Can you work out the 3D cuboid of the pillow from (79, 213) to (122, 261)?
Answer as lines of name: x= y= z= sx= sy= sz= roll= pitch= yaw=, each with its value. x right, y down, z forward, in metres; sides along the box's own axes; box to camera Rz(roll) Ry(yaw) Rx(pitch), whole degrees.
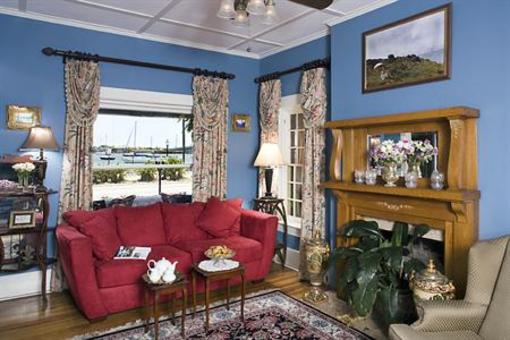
pillow: x=-1.985 y=0.851 z=4.691 sx=0.488 sy=0.553 sz=0.813 roll=-1 pitch=12 yaw=-3

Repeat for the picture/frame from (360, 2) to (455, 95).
picture/frame: x=1.972 y=-1.572 z=4.375 sx=0.057 sy=0.958 sz=1.430 roll=3 pitch=-4 yaw=-44

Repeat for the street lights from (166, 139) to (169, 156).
street lights: x=-1.628 y=-0.422 z=6.385 sx=0.066 sy=0.314 sz=0.029 roll=-8 pitch=14 yaw=-36

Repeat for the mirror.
mirror: x=1.887 y=-0.204 z=4.335 sx=0.711 sy=0.476 sz=0.017 roll=0 pitch=0 yaw=40

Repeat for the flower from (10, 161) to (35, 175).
flower: x=-3.298 y=-0.029 z=4.903 sx=0.216 sy=0.139 sz=0.213 roll=0 pitch=-13 yaw=33

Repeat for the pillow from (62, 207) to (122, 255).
pillow: x=-2.267 y=0.870 z=4.623 sx=0.215 sy=0.642 sz=0.693 roll=-30 pitch=-14 yaw=10

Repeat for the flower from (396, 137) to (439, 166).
flower: x=1.978 y=-0.235 z=4.215 sx=0.350 sy=0.327 sz=0.224 roll=6 pitch=-17 yaw=15

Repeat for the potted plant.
potted plant: x=1.431 y=1.150 z=4.394 sx=1.323 sy=0.596 sz=1.266 roll=-9 pitch=15 yaw=-16

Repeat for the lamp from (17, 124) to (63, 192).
lamp: x=-3.078 y=-0.200 z=4.970 sx=0.491 sy=0.908 sz=0.440 roll=-7 pitch=13 yaw=-34

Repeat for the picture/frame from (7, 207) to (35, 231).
picture/frame: x=-3.275 y=0.689 z=4.816 sx=0.336 sy=0.294 sz=0.042 roll=0 pitch=-3 yaw=-30

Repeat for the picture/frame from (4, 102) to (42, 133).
picture/frame: x=-3.374 y=-0.766 z=4.961 sx=0.511 sy=0.441 sz=0.054 roll=1 pitch=-2 yaw=-32

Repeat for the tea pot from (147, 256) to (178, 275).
tea pot: x=-1.111 y=1.151 z=4.214 sx=0.376 sy=0.231 sz=0.243 roll=4 pitch=-2 yaw=-14

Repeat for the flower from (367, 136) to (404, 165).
flower: x=1.665 y=-0.248 z=4.488 sx=0.419 sy=0.317 sz=0.374 roll=0 pitch=10 yaw=1

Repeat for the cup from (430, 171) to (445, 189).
cup: x=2.102 y=0.114 z=3.991 sx=0.130 sy=0.196 sz=0.121 roll=0 pitch=11 yaw=0

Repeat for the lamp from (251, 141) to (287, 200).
lamp: x=0.238 y=-0.002 z=6.135 sx=0.509 sy=0.992 sz=0.623 roll=0 pitch=11 yaw=0

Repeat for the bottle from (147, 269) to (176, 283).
bottle: x=-1.088 y=1.242 z=4.031 sx=0.241 sy=0.110 sz=0.175 roll=2 pitch=-3 yaw=4
